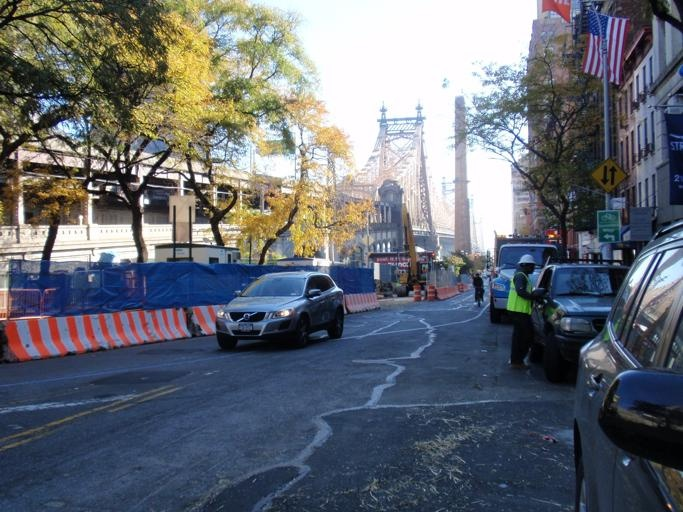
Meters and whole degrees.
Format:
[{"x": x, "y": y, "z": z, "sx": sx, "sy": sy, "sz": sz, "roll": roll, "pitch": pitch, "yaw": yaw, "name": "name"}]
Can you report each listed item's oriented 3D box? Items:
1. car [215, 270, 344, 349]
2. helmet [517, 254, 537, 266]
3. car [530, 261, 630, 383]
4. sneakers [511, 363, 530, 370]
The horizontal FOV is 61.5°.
[{"x": -1.627, "y": 1.481, "z": 16.851, "sx": 2.371, "sy": 2.050, "sz": 4.594, "roll": -2, "pitch": -2, "yaw": 27, "name": "car"}, {"x": 5.044, "y": 0.088, "z": 15.476, "sx": 0.400, "sy": 0.325, "sz": 0.570, "roll": -1, "pitch": -10, "yaw": -4, "name": "helmet"}, {"x": 4.420, "y": 1.045, "z": 10.698, "sx": 1.534, "sy": 1.706, "sz": 3.058, "roll": -1, "pitch": -5, "yaw": 2, "name": "car"}, {"x": 3.533, "y": 2.162, "z": 11.273, "sx": 0.319, "sy": 0.165, "sz": 0.137, "roll": 0, "pitch": 2, "yaw": -4, "name": "sneakers"}]
